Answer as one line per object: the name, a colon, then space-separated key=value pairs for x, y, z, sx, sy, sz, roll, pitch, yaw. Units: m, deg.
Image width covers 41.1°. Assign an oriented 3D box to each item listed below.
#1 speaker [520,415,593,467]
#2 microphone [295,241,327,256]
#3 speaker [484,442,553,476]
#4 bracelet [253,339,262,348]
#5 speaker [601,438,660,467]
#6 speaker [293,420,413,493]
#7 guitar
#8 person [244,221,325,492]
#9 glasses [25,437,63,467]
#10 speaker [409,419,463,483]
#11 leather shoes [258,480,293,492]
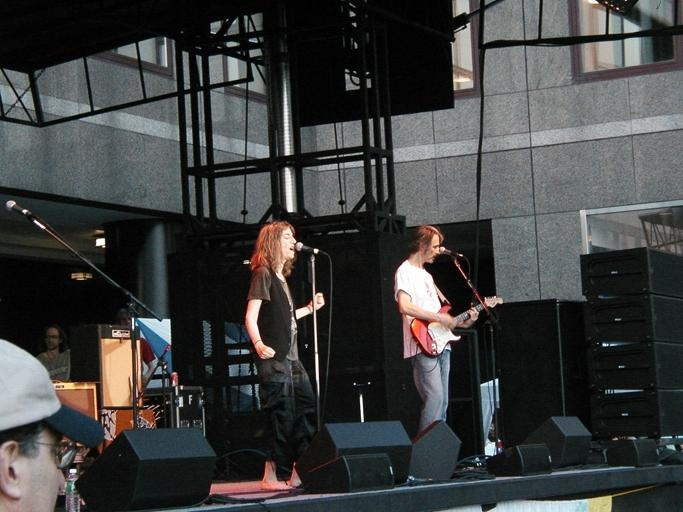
speaker: x=1.430 y=1.194 z=6.081 sx=0.362 sy=0.326 sz=0.381 roll=3 pitch=-5 yaw=-44
microphone: x=-0.236 y=-0.057 z=7.296 sx=0.302 sy=0.071 sz=0.068 roll=16 pitch=-9 yaw=-22
speaker: x=1.103 y=1.265 z=5.651 sx=0.395 sy=0.185 sz=0.244 roll=-4 pitch=-5 yaw=7
bracelet: x=-0.527 y=0.561 z=5.800 sx=0.042 sy=0.030 sz=0.041 roll=0 pitch=3 yaw=-35
speaker: x=1.948 y=1.322 z=6.166 sx=0.256 sy=0.167 sz=0.229 roll=5 pitch=-6 yaw=-40
speaker: x=0.116 y=1.200 z=4.992 sx=0.565 sy=0.364 sz=0.385 roll=3 pitch=-1 yaw=-31
guitar: x=0.871 y=0.504 z=6.901 sx=0.758 sy=0.295 sz=0.096 roll=-27 pitch=8 yaw=-35
person: x=-0.374 y=0.626 z=5.900 sx=0.473 sy=1.752 sz=1.073 roll=-3 pitch=-5 yaw=-2
glasses: x=-0.944 y=0.612 z=2.913 sx=0.118 sy=0.036 sz=0.117 roll=-7 pitch=-22 yaw=-1
speaker: x=0.559 y=1.167 z=5.464 sx=0.323 sy=0.338 sz=0.113 roll=0 pitch=-6 yaw=-30
leather shoes: x=-0.401 y=1.387 z=5.531 sx=0.183 sy=0.122 sz=0.078 roll=-1 pitch=-9 yaw=8
